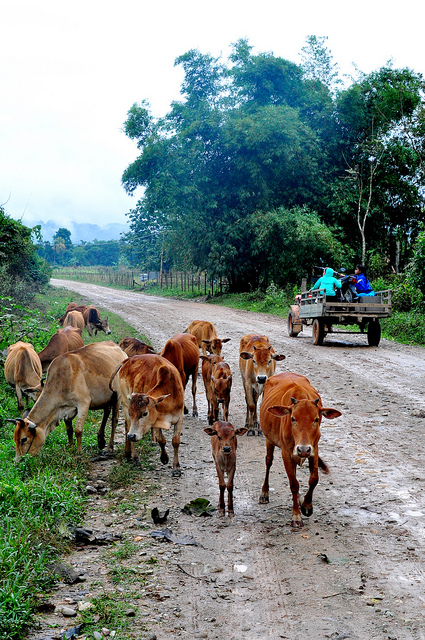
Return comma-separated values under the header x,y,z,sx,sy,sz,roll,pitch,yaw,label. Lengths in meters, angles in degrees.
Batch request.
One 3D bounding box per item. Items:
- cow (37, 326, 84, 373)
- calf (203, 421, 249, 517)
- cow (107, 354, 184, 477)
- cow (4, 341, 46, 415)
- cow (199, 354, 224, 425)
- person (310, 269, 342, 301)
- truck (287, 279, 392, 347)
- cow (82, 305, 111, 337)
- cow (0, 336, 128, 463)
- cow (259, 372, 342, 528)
x,y,z,sx,sy,sz,roll,pitch,yaw,label
-2.669,0.439,9.398,0.660,0.860,0.696,-2,5,-12,cow
0.130,1.527,5.656,0.428,0.762,0.956,-1,3,1,calf
-0.763,1.168,6.642,0.981,1.398,1.586,0,3,-11,cow
-2.991,0.947,8.465,0.603,1.089,0.571,-5,7,-36,cow
-0.075,1.155,9.137,0.471,1.055,0.514,-1,3,-16,cow
3.377,-1.043,15.726,0.868,0.945,1.477,-1,3,10,person
3.914,-0.270,17.180,2.240,1.901,4.284,1,1,-3,truck
-3.834,0.037,17.462,0.894,0.981,0.782,-3,4,-31,cow
-1.851,1.101,6.903,0.695,1.449,1.940,2,5,39,cow
0.740,1.208,5.133,0.827,1.314,0.817,1,3,-7,cow
